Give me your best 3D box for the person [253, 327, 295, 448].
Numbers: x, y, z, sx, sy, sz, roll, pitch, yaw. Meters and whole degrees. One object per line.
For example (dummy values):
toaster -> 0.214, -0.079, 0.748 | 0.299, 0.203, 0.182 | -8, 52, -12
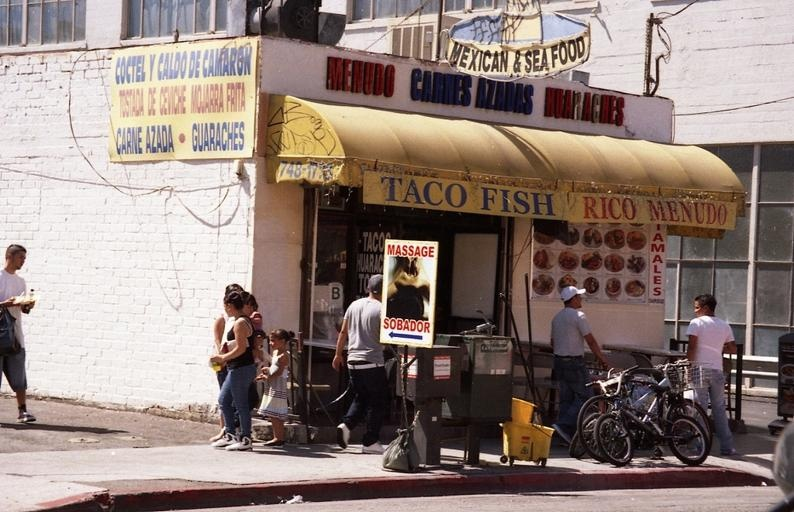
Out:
person -> -2.042, 2.167, 19.918 | 0.491, 1.926, 0.435 | 0, -2, -3

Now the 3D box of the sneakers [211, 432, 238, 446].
sneakers -> -2.864, 2.973, 19.599 | 0.499, 0.238, 0.168 | -1, 1, 6

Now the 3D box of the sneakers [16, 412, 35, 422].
sneakers -> -6.381, 2.730, 20.523 | 0.376, 0.162, 0.146 | -5, -7, 34

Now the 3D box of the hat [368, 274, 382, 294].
hat -> -0.345, 0.455, 19.767 | 0.218, 0.282, 0.537 | 0, -2, -1

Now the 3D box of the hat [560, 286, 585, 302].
hat -> 3.161, 0.658, 21.288 | 0.414, 0.219, 0.266 | -15, 13, -10

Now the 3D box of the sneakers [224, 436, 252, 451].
sneakers -> -2.613, 3.028, 19.447 | 0.502, 0.244, 0.170 | 4, -5, -14

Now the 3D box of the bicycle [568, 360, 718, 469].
bicycle -> 4.065, 2.646, 20.658 | 2.572, 1.579, 1.328 | -2, -1, -22

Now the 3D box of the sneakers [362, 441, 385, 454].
sneakers -> -0.380, 3.215, 20.246 | 0.412, 0.178, 0.154 | 2, -1, -10

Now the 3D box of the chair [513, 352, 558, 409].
chair -> 2.623, 2.358, 22.704 | 0.819, 1.148, 1.426 | 0, -2, 8

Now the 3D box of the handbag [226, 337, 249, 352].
handbag -> -2.601, 1.409, 19.386 | 0.208, 0.211, 0.267 | 1, -21, -1

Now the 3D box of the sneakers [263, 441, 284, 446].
sneakers -> -2.042, 3.064, 19.852 | 0.325, 0.126, 0.114 | 4, -6, -1

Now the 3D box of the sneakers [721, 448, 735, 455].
sneakers -> 5.889, 3.426, 21.196 | 0.280, 0.120, 0.119 | 1, -2, -14

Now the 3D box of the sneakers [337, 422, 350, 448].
sneakers -> -0.903, 2.932, 19.864 | 0.156, 0.470, 0.195 | 2, 10, 27
